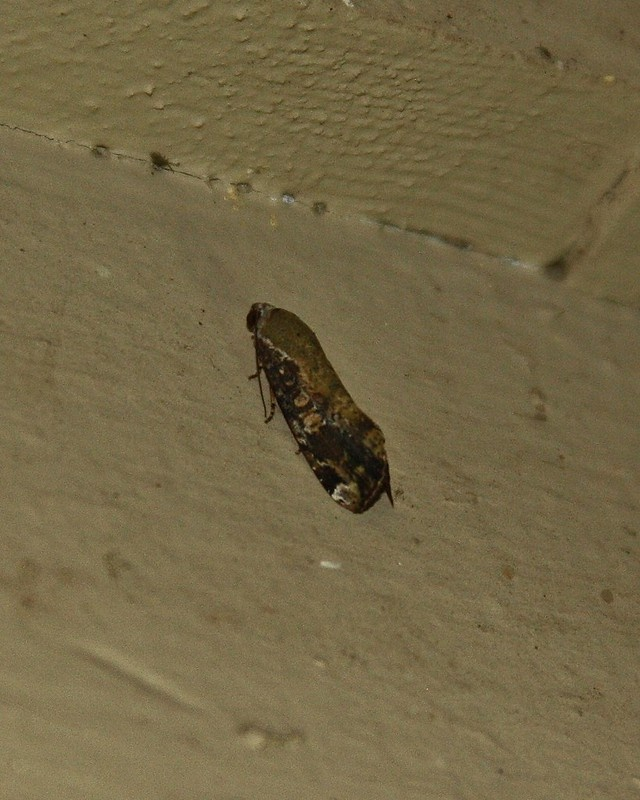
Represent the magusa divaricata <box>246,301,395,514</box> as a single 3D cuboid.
[{"bbox_3d":[0.032,0.116,7.928,0.560,0.469,1.533,-34,94,-8],"label":"magusa divaricata"}]
